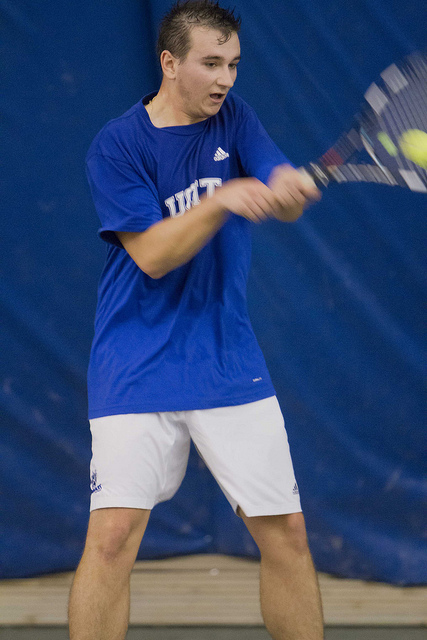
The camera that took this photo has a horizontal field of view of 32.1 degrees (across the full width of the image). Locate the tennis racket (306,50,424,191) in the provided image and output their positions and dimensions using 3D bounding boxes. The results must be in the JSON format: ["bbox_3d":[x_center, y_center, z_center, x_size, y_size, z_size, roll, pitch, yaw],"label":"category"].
[{"bbox_3d":[0.341,-0.395,1.506,0.196,0.262,0.228,10,36,-1],"label":"tennis racket"}]
